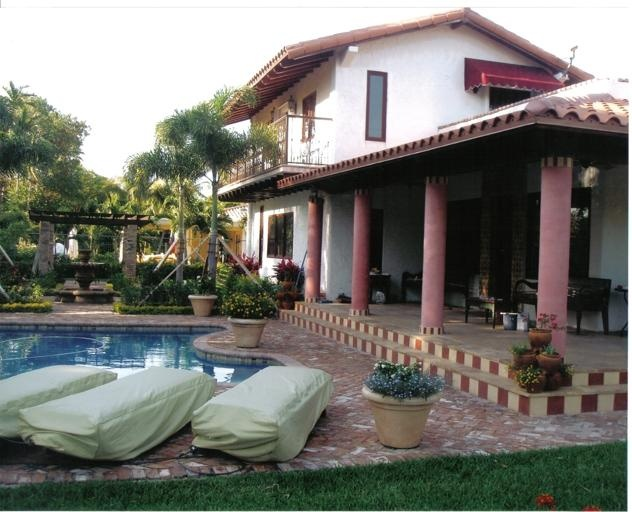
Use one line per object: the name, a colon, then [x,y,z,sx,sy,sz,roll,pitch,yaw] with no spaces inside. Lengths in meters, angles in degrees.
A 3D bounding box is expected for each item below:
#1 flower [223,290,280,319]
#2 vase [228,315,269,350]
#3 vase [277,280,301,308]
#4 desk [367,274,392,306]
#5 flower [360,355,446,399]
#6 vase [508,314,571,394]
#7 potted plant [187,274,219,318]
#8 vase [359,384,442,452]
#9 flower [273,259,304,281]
flower: [-1.484,1.031,12.867,0.757,0.501,0.778,6,4,40]
vase: [-1.389,1.579,12.688,0.586,0.457,0.633,2,-9,2]
vase: [-0.766,1.094,17.561,0.610,0.802,0.702,-1,-15,13]
desk: [1.775,0.878,17.019,0.572,0.800,0.568,1,-2,3]
flower: [1.145,1.587,7.588,0.916,0.487,1.000,0,-1,3]
vase: [3.198,1.464,8.696,0.811,0.864,0.407,1,-2,-14]
potted plant: [-3.160,1.154,17.554,0.843,1.345,0.941,2,-7,-9]
vase: [1.043,1.958,7.574,0.959,0.663,0.955,1,1,-12]
flower: [-0.829,0.456,18.278,0.635,0.713,0.644,7,-7,-42]
